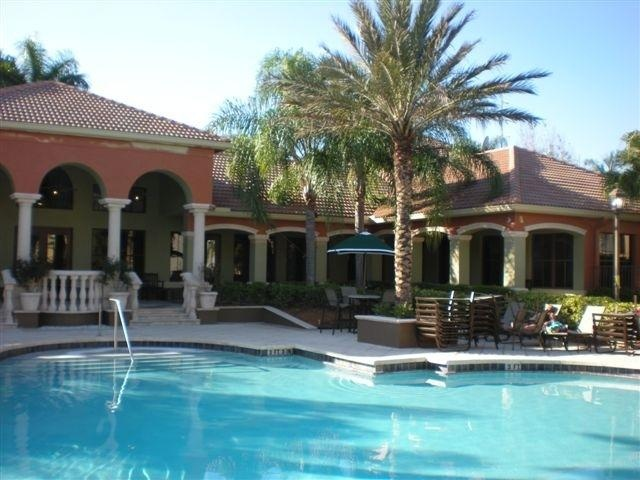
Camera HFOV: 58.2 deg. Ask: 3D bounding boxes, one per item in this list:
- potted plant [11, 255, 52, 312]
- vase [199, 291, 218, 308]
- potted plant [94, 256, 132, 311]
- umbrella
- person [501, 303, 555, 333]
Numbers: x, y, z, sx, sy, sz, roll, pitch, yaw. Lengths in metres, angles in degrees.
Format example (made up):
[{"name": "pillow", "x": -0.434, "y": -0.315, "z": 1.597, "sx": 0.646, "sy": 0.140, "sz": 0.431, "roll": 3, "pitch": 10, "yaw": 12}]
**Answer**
[{"name": "potted plant", "x": -9.142, "y": 1.413, "z": 18.237, "sx": 0.973, "sy": 1.717, "sz": 0.635, "roll": 4, "pitch": -5, "yaw": -29}, {"name": "vase", "x": -4.028, "y": 2.074, "z": 20.687, "sx": 0.632, "sy": 0.572, "sz": 0.547, "roll": 1, "pitch": -4, "yaw": -14}, {"name": "potted plant", "x": -6.867, "y": 1.449, "z": 19.292, "sx": 1.118, "sy": 1.697, "sz": 0.820, "roll": 3, "pitch": -5, "yaw": -23}, {"name": "umbrella", "x": 1.715, "y": 0.545, "z": 21.309, "sx": 2.387, "sy": 1.921, "sz": 2.421, "roll": 2, "pitch": 3, "yaw": 42}, {"name": "person", "x": 5.839, "y": 2.227, "z": 15.981, "sx": 1.164, "sy": 0.785, "sz": 0.744, "roll": 2, "pitch": 8, "yaw": 37}]
